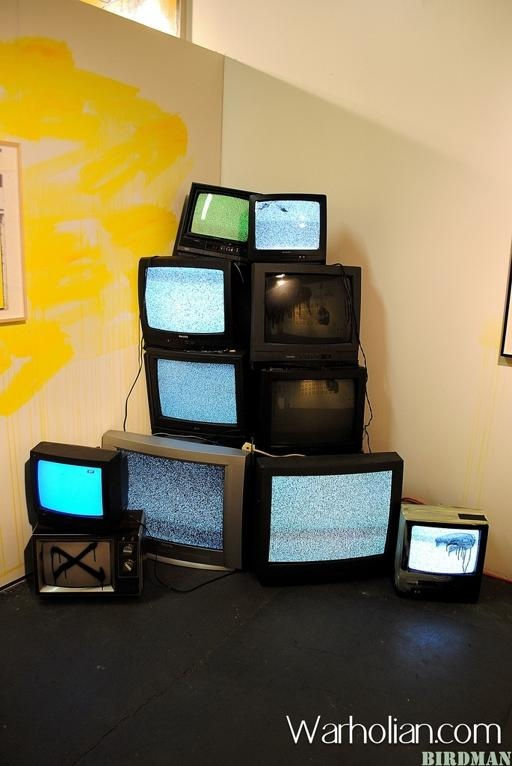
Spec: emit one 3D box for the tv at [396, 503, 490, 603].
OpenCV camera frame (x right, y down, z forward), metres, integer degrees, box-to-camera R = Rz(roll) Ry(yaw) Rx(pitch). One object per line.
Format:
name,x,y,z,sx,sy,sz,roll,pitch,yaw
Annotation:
tv,0.656,0.604,2.228,0.309,0.386,0.331,2,4,9

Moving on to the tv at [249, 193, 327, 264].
tv,0.118,-0.574,2.421,0.374,0.370,0.222,0,6,2

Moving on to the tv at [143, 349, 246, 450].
tv,-0.235,0.060,2.409,0.297,0.316,0.178,5,19,16

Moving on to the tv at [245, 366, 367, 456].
tv,0.183,0.074,2.436,0.516,0.518,0.305,-1,10,-7
